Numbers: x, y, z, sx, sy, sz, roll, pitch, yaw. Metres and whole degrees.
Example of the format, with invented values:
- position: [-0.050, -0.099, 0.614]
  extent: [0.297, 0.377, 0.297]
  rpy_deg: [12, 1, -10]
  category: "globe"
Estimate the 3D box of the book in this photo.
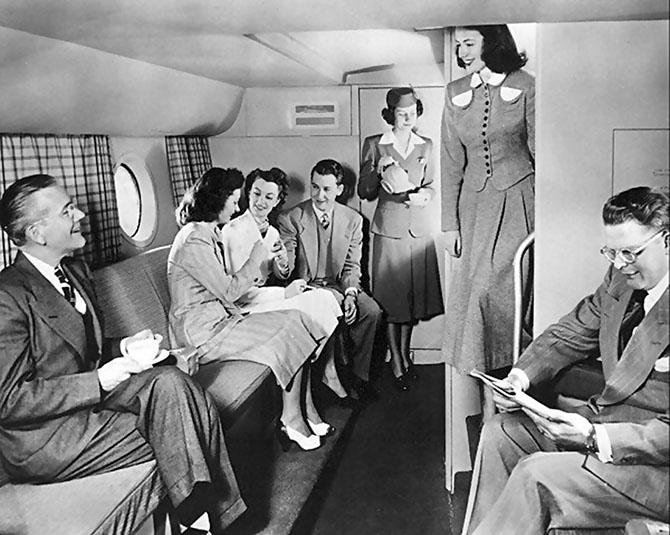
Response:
- position: [0.667, 0.470, 1.932]
  extent: [0.297, 0.094, 0.082]
  rpy_deg: [40, -4, -9]
  category: "book"

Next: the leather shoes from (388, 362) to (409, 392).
- position: [0.273, 0.446, 2.101]
  extent: [0.038, 0.134, 0.051]
  rpy_deg: [-3, 3, 4]
  category: "leather shoes"

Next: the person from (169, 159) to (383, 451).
- position: [-0.240, 0.060, 3.002]
  extent: [1.030, 2.094, 0.722]
  rpy_deg: [-3, 4, 6]
  category: "person"

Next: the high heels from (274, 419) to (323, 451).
- position: [-0.149, 0.684, 2.186]
  extent: [0.236, 0.141, 0.085]
  rpy_deg: [7, 11, -9]
  category: "high heels"

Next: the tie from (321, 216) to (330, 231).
- position: [-0.037, -0.177, 2.040]
  extent: [0.028, 0.055, 0.016]
  rpy_deg: [0, 4, 2]
  category: "tie"

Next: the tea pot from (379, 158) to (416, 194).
- position: [0.236, -0.351, 2.026]
  extent: [0.098, 0.082, 0.133]
  rpy_deg: [27, 10, -29]
  category: "tea pot"

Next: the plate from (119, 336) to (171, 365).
- position: [-0.721, 0.311, 1.988]
  extent: [0.107, 0.050, 0.117]
  rpy_deg: [7, 17, -19]
  category: "plate"

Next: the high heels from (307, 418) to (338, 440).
- position: [-0.052, 0.665, 2.135]
  extent: [0.136, 0.066, 0.056]
  rpy_deg: [1, 33, 10]
  category: "high heels"

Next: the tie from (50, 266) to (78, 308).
- position: [-0.991, 0.068, 1.932]
  extent: [0.041, 0.210, 0.048]
  rpy_deg: [-20, 7, -38]
  category: "tie"

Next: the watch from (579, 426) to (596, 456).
- position: [0.855, 0.579, 1.751]
  extent: [0.056, 0.089, 0.034]
  rpy_deg: [2, 3, 24]
  category: "watch"
